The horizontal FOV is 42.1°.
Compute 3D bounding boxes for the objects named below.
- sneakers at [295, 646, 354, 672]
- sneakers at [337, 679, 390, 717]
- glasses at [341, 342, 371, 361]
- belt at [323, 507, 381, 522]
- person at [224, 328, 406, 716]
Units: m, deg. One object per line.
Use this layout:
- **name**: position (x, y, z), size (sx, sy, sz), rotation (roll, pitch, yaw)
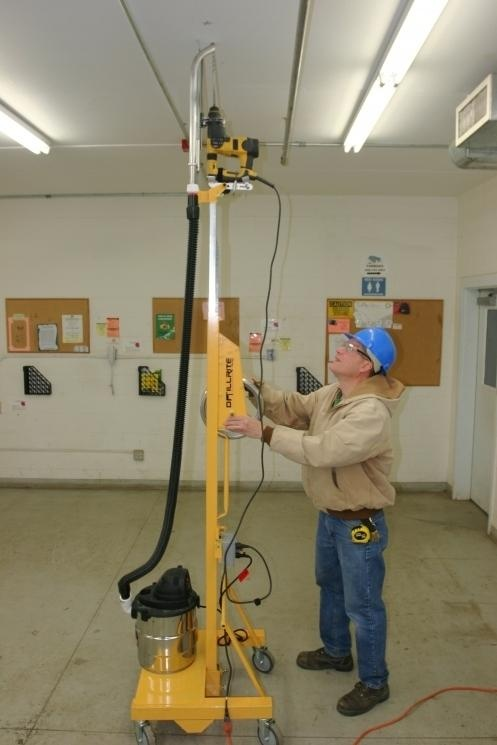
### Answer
- **sneakers**: position (0.326, 1.242, 2.797), size (0.238, 0.108, 0.094), rotation (7, -2, 5)
- **sneakers**: position (0.442, 1.284, 2.588), size (0.230, 0.097, 0.085), rotation (-4, 1, -23)
- **glasses**: position (0.412, -0.085, 2.497), size (0.071, 0.021, 0.069), rotation (32, -10, -17)
- **belt**: position (0.399, 0.546, 2.500), size (0.178, 0.052, 0.057), rotation (1, 5, 5)
- **person**: position (0.312, 0.578, 2.547), size (0.551, 1.511, 0.635), rotation (1, 5, 6)
